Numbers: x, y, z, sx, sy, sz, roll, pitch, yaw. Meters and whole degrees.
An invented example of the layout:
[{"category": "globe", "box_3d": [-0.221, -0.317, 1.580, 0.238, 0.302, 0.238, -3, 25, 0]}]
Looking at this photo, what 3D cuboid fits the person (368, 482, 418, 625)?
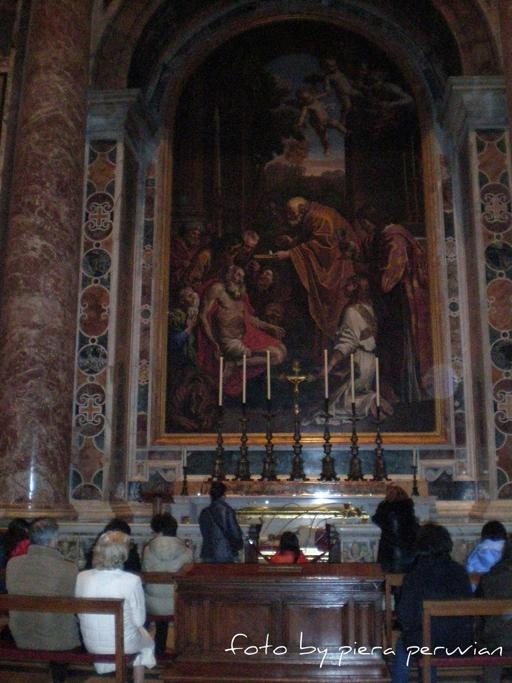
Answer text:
[{"category": "person", "box_3d": [1.077, 1.537, 7.853, 0.379, 0.860, 0.339, -4, 16, -35]}]
